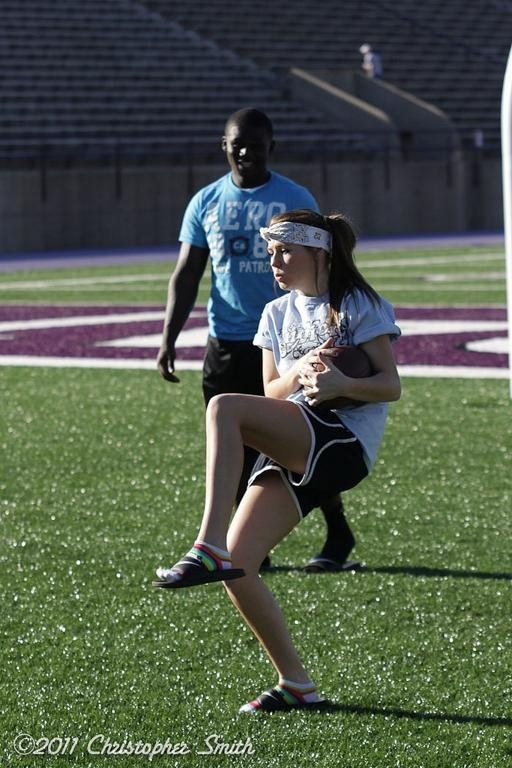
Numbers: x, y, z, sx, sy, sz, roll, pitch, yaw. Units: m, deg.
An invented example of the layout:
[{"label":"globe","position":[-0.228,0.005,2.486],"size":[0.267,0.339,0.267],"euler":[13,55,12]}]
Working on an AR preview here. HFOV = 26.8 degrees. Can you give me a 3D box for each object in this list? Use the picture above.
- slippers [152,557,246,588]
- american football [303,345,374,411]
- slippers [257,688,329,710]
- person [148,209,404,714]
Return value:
[{"label":"slippers","position":[-0.123,0.388,2.253],"size":[0.209,0.063,0.070],"euler":[0,-6,-28]},{"label":"american football","position":[0.228,-0.028,2.568],"size":[0.161,0.133,0.205],"euler":[8,16,32]},{"label":"slippers","position":[0.083,0.701,2.426],"size":[0.160,0.040,0.053],"euler":[1,-3,-8]},{"label":"person","position":[-0.068,0.140,2.602],"size":[0.701,1.076,0.451],"euler":[-2,3,-40]}]
